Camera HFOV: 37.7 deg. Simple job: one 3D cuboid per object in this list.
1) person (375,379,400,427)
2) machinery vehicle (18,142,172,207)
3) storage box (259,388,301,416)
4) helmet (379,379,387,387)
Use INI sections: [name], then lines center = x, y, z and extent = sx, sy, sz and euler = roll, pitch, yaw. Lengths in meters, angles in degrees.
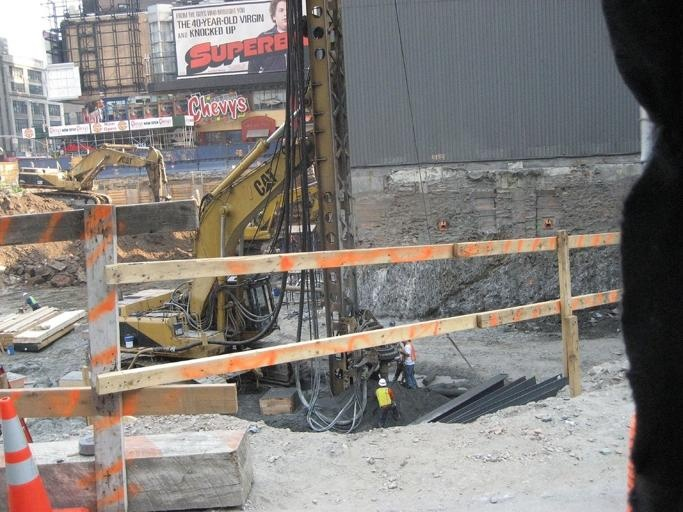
[person]
center = 1.104, 3.450, 23.980
extent = 0.448, 1.130, 0.809
euler = -5, 6, 9
[machinery vehicle]
center = -9.946, -3.158, 39.951
extent = 5.598, 1.992, 1.494
euler = 0, 9, -9
[storage box]
center = -1.596, 3.699, 25.474
extent = 0.650, 0.393, 0.869
euler = -1, 3, 2
[helmet]
center = 0.968, 3.012, 23.943
extent = 0.255, 0.128, 0.337
euler = -1, -1, 0
